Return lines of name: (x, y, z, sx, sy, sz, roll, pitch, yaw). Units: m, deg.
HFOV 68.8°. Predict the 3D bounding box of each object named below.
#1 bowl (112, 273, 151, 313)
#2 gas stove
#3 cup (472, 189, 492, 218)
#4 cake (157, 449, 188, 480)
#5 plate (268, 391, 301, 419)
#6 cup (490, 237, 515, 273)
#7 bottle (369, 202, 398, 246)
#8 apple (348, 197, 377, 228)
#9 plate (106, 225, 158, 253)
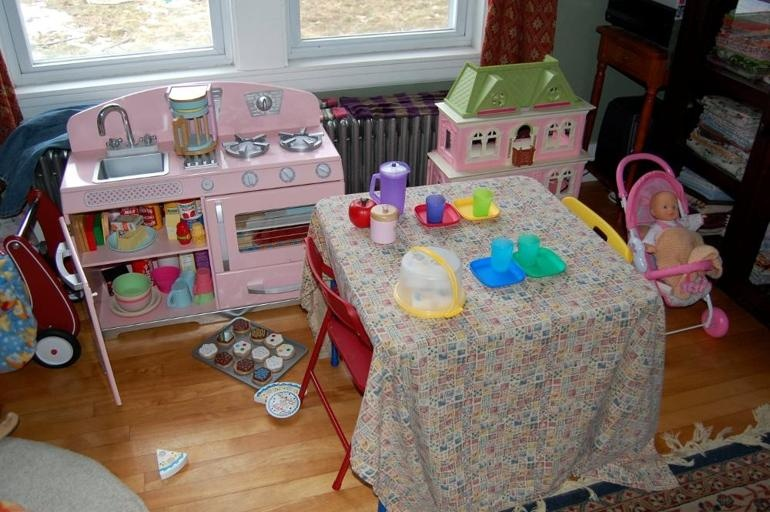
bowl: (-1.643, 0.276, 3.621, 0.257, 0.148, 0.218, 3, 13, -14)
gas stove: (-0.686, -0.589, 3.545, 0.767, 0.237, 0.410, -10, 41, -9)
cup: (0.493, -0.267, 2.875, 0.102, 0.104, 0.096, 4, 37, -3)
cake: (-1.107, 1.065, 2.931, 0.147, 0.042, 0.163, -13, 42, -13)
plate: (-0.578, 0.821, 3.169, 0.185, 0.025, 0.174, -14, 42, -14)
cup: (0.531, 0.001, 2.561, 0.104, 0.105, 0.096, -1, 39, 1)
bottle: (-0.002, -0.155, 2.741, 0.178, 0.185, 0.169, 3, 34, 1)
apple: (-0.120, -0.218, 2.855, 0.141, 0.123, 0.140, 18, 30, 28)
plate: (-1.571, -0.104, 3.478, 0.211, 0.081, 0.208, -1, 26, -1)
